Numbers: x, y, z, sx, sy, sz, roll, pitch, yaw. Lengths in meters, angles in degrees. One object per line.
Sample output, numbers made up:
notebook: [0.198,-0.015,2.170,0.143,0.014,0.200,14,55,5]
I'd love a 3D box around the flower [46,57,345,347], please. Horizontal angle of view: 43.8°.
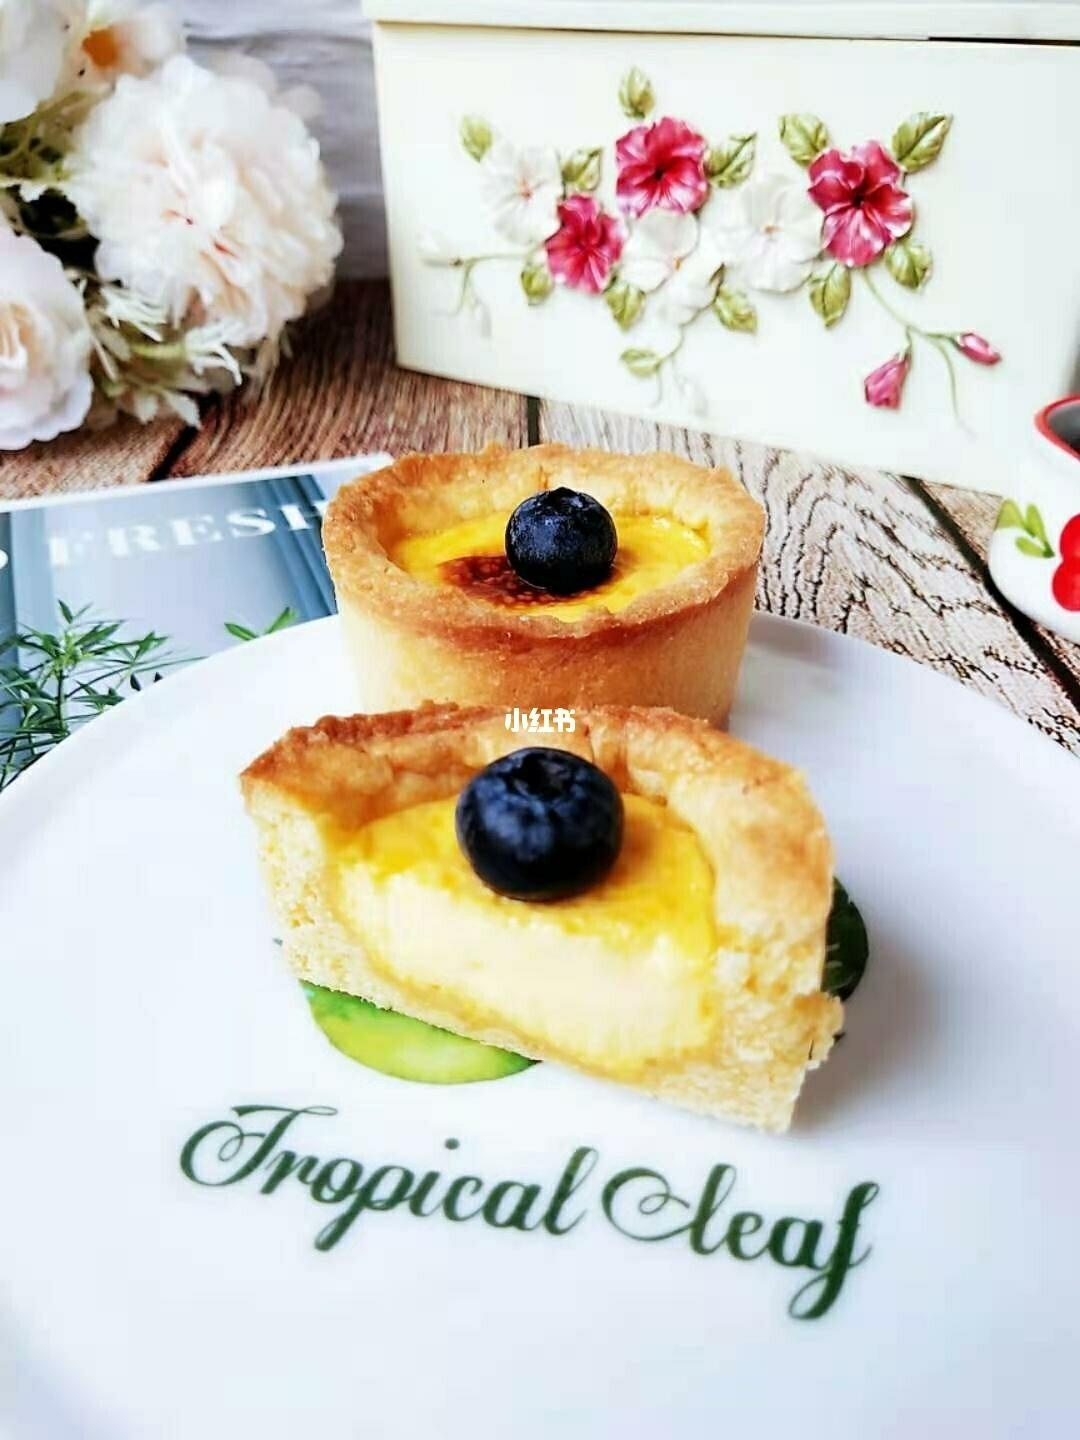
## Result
flower: [-0.548,-0.830,2.208,0.376,0.467,0.256,-3,33,3]
